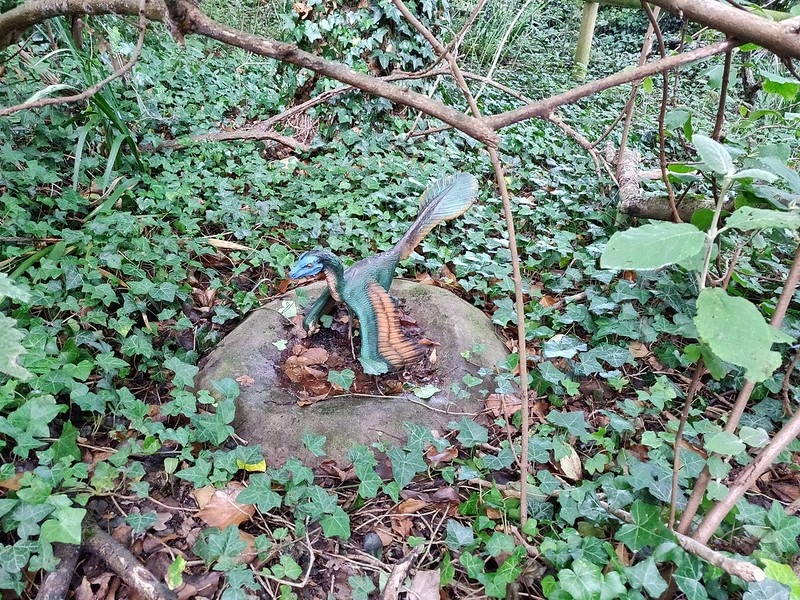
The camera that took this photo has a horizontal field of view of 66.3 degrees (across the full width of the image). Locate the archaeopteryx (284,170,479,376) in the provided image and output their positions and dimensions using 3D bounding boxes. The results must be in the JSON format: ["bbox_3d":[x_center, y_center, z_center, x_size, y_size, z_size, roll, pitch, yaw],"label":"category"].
[{"bbox_3d":[-0.037,-0.171,3.601,1.192,0.782,0.833,-30,36,-26],"label":"archaeopteryx"}]
